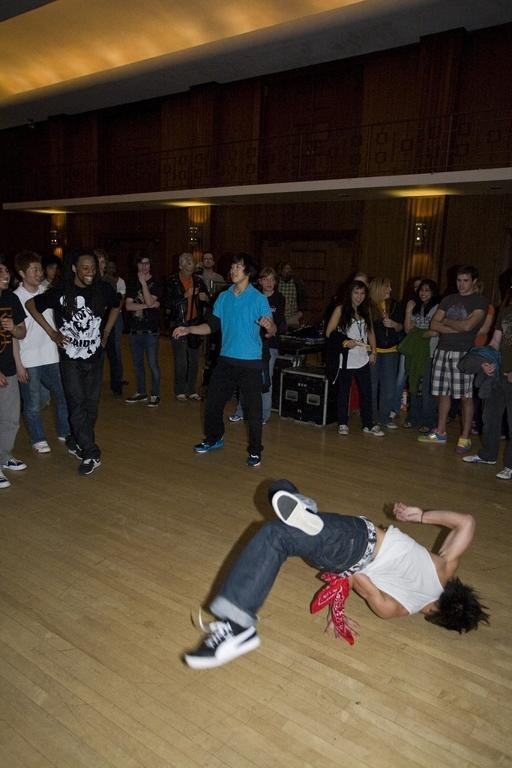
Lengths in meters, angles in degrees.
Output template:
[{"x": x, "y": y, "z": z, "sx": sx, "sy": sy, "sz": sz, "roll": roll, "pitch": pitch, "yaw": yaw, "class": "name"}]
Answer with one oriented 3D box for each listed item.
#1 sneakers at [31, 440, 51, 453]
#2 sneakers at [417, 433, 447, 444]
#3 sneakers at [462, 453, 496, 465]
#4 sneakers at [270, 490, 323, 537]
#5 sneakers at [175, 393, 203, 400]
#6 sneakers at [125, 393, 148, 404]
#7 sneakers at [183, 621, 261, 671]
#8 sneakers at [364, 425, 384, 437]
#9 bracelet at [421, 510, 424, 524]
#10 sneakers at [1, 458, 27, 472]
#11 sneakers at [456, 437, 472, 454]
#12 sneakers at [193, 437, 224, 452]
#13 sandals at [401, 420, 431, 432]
[{"x": -1.752, "y": 0.515, "z": 4.190, "sx": 0.067, "sy": 0.078, "sz": 0.185, "roll": -19, "pitch": 11, "yaw": -38, "class": "sneakers"}, {"x": 1.669, "y": 0.513, "z": 4.858, "sx": 0.246, "sy": 0.100, "sz": 0.103, "roll": 4, "pitch": 5, "yaw": 5, "class": "sneakers"}, {"x": 1.869, "y": 0.632, "z": 4.326, "sx": 0.277, "sy": 0.104, "sz": 0.093, "roll": 7, "pitch": 9, "yaw": 15, "class": "sneakers"}, {"x": 0.136, "y": 0.421, "z": 1.709, "sx": 0.204, "sy": 0.102, "sz": 0.048, "roll": 37, "pitch": -1, "yaw": -7, "class": "sneakers"}, {"x": -0.815, "y": 0.138, "z": 6.167, "sx": 0.268, "sy": 0.069, "sz": 0.103, "roll": -1, "pitch": 11, "yaw": -1, "class": "sneakers"}, {"x": -1.383, "y": 0.175, "z": 5.975, "sx": 0.294, "sy": 0.110, "sz": 0.098, "roll": -1, "pitch": 7, "yaw": -26, "class": "sneakers"}, {"x": -0.111, "y": 0.847, "z": 1.688, "sx": 0.260, "sy": 0.099, "sz": 0.148, "roll": -14, "pitch": 8, "yaw": -17, "class": "sneakers"}, {"x": 1.146, "y": 0.461, "z": 5.029, "sx": 0.220, "sy": 0.092, "sz": 0.081, "roll": 8, "pitch": 19, "yaw": 27, "class": "sneakers"}, {"x": 0.666, "y": 0.534, "z": 2.054, "sx": 0.012, "sy": 0.047, "sz": 0.034, "roll": 2, "pitch": -17, "yaw": 12, "class": "bracelet"}, {"x": -1.772, "y": 0.598, "z": 3.796, "sx": 0.197, "sy": 0.074, "sz": 0.071, "roll": 11, "pitch": 10, "yaw": 8, "class": "sneakers"}, {"x": 1.865, "y": 0.542, "z": 4.599, "sx": 0.087, "sy": 0.093, "sz": 0.216, "roll": 7, "pitch": 17, "yaw": 28, "class": "sneakers"}, {"x": -0.389, "y": 0.537, "z": 4.445, "sx": 0.283, "sy": 0.113, "sz": 0.093, "roll": -6, "pitch": 21, "yaw": -37, "class": "sneakers"}, {"x": 1.658, "y": 0.432, "z": 5.282, "sx": 0.098, "sy": 0.070, "sz": 0.271, "roll": -9, "pitch": 10, "yaw": -42, "class": "sandals"}]
